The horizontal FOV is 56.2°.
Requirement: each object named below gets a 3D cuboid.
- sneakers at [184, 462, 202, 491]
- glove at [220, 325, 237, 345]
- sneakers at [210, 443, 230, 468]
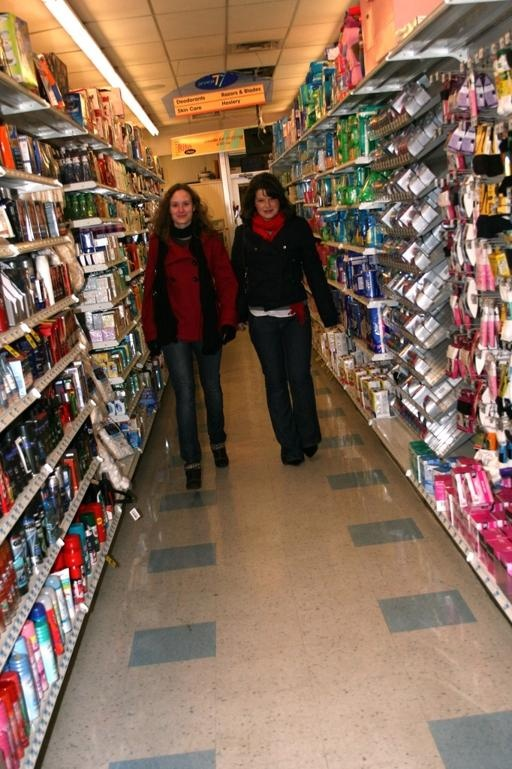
[{"bbox_3d":[-0.423,0.647,3.168,0.064,0.090,0.211,2,26,-6],"label":"sneakers"},{"bbox_3d":[-0.172,-0.293,3.062,0.083,0.116,0.098,14,4,2],"label":"glove"},{"bbox_3d":[-0.257,0.557,3.439,0.070,0.088,0.219,-3,16,-6],"label":"sneakers"}]
